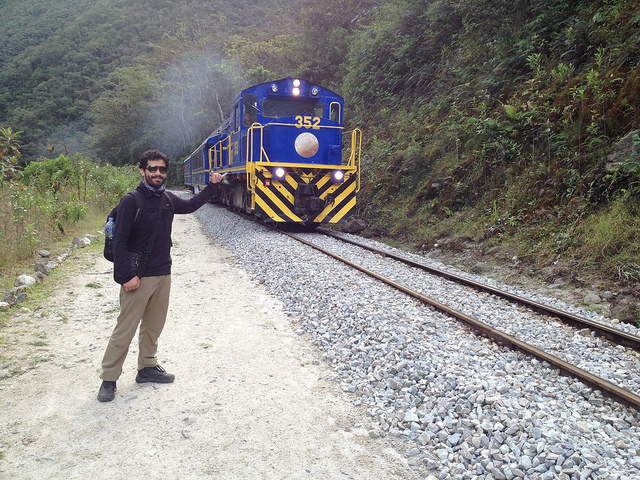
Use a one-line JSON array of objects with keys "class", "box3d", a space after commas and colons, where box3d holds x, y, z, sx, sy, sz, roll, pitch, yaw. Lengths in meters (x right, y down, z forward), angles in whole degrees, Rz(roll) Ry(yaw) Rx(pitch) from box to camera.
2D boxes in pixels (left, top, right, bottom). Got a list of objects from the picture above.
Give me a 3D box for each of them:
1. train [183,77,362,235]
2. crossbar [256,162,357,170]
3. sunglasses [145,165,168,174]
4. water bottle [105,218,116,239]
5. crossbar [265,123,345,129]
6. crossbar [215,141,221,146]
[{"class": "train", "box3d": [-1.551, -2.825, 15.730, 3.285, 4.786, 6.577, -4, 13, -21]}, {"class": "crossbar", "box3d": [-0.343, -2.107, 13.233, 2.936, 0.204, 0.316, -4, 13, -21]}, {"class": "sunglasses", "box3d": [-1.892, -0.823, 5.402, 0.257, 0.104, 0.126, -7, 14, -32]}, {"class": "water bottle", "box3d": [-2.376, -0.133, 5.291, 0.146, 0.236, 0.055, 6, 13, 25]}, {"class": "crossbar", "box3d": [-0.400, -3.264, 13.297, 2.297, 0.116, 0.270, -4, 13, -20]}, {"class": "crossbar", "box3d": [-3.886, -3.699, 17.691, 0.192, 0.124, 0.984, -2, 12, -14]}]
